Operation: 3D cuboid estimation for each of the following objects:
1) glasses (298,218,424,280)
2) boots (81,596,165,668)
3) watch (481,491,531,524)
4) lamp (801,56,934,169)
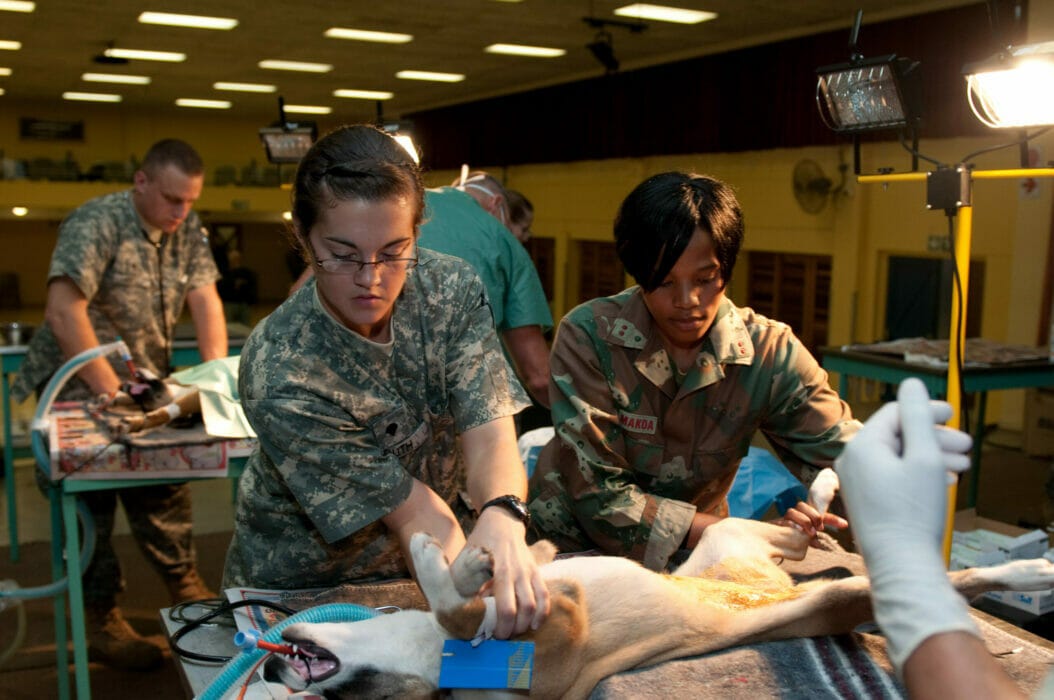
[{"bbox_3d":[-0.450,-0.266,2.417,0.295,0.146,0.108,-3,2,-9],"label":"glasses"},{"bbox_3d":[-1.898,1.370,4.179,0.349,0.254,0.123,21,-15,-15],"label":"boots"},{"bbox_3d":[-0.056,0.434,2.419,0.091,0.038,0.096,28,-5,38],"label":"watch"},{"bbox_3d":[1.294,-0.880,3.308,0.297,0.402,0.401,-5,3,-39],"label":"lamp"}]
